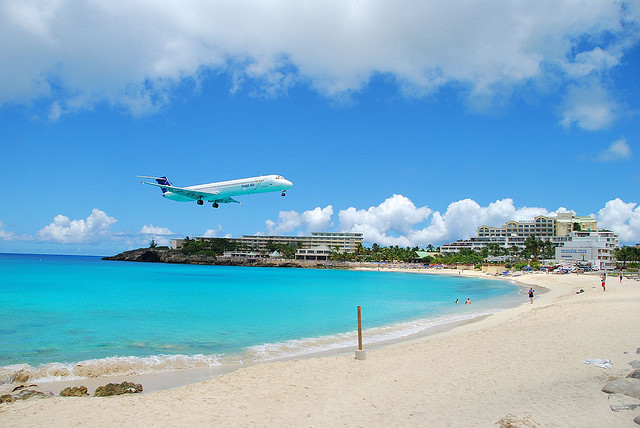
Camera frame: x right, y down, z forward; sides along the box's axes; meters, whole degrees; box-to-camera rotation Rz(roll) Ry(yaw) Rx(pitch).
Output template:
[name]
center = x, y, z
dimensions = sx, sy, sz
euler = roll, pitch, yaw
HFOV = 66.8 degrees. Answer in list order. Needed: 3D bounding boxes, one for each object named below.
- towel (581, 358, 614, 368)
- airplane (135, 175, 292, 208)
[towel]
center = 15.509, 8.224, 26.796
dimensions = 1.502, 0.325, 0.997
euler = -3, -7, 17
[airplane]
center = -13.314, -3.178, 66.789
dimensions = 12.084, 2.883, 11.099
euler = -12, -9, 24
